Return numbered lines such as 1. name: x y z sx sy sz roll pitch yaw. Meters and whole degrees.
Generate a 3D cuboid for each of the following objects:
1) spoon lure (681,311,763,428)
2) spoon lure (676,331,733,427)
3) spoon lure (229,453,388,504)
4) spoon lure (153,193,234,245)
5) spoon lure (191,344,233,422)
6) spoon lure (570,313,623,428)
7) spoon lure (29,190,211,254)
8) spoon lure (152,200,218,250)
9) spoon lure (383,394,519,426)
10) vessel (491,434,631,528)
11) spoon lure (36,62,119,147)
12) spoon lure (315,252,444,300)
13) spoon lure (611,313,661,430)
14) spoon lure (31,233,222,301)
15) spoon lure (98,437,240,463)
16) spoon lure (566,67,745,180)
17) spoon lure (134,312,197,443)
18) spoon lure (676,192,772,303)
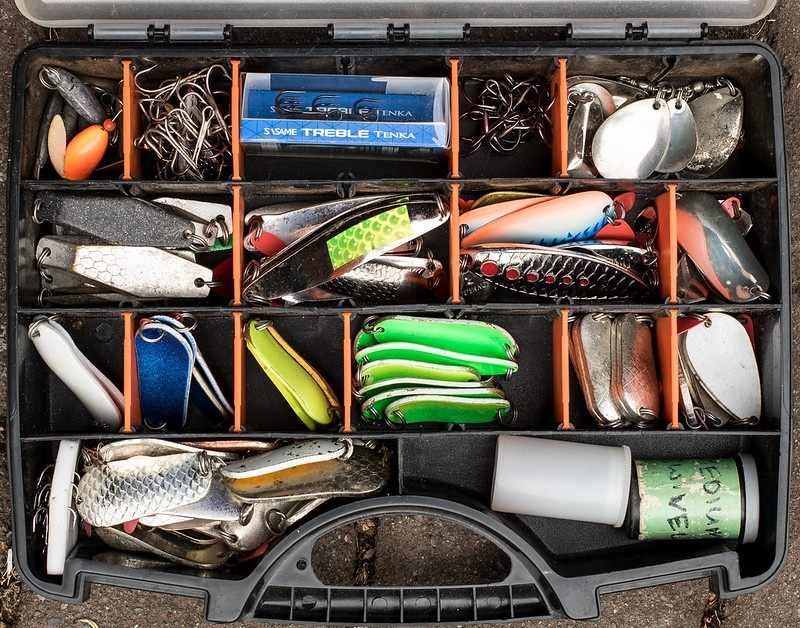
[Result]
1. spoon lure: 0.819 0.131 2.658 0.209 0.287 0.068 -14 2 -2
2. spoon lure: 0.763 0.157 2.613 0.165 0.227 0.063 -3 -2 -5
3. spoon lure: -0.219 0.408 2.614 0.266 0.050 0.160 -2 43 -4
4. spoon lure: -0.519 -0.250 2.618 0.185 0.046 0.112 11 82 -14
5. spoon lure: -0.478 0.179 2.667 0.051 0.171 0.132 -35 25 -11
6. spoon lure: 0.497 0.132 2.654 0.134 0.270 0.075 -4 0 -9
7. spoon lure: -0.677 -0.240 2.683 0.526 0.155 0.090 7 6 -5
8. spoon lure: -0.530 -0.252 2.651 0.111 0.158 0.050 -7 11 -28
9. spoon lure: 0.117 0.235 2.615 0.198 0.073 0.057 0 67 -1
10. vessel: 0.405 0.410 2.630 0.411 0.265 0.272 4 80 6
11. spoon lure: -0.814 -0.554 2.674 0.088 0.260 0.087 -46 39 4
12. spoon lure: -0.046 -0.104 2.700 0.361 0.122 0.113 -3 33 -4
13. spoon lure: 0.595 0.140 2.638 0.141 0.062 0.270 1 79 -9
14. spoon lure: -0.650 -0.126 2.702 0.538 0.168 0.115 7 7 -7
15. spoon lure: -0.584 0.333 2.599 0.223 0.055 0.037 5 20 4
16. spoon lure: 0.655 -0.457 2.665 0.457 0.215 0.247 3 44 -3
17. spoon lure: -0.594 0.149 2.549 0.141 0.287 0.058 -1 13 -2
18. spoon lure: 0.806 -0.173 2.659 0.167 0.075 0.291 -39 89 6
